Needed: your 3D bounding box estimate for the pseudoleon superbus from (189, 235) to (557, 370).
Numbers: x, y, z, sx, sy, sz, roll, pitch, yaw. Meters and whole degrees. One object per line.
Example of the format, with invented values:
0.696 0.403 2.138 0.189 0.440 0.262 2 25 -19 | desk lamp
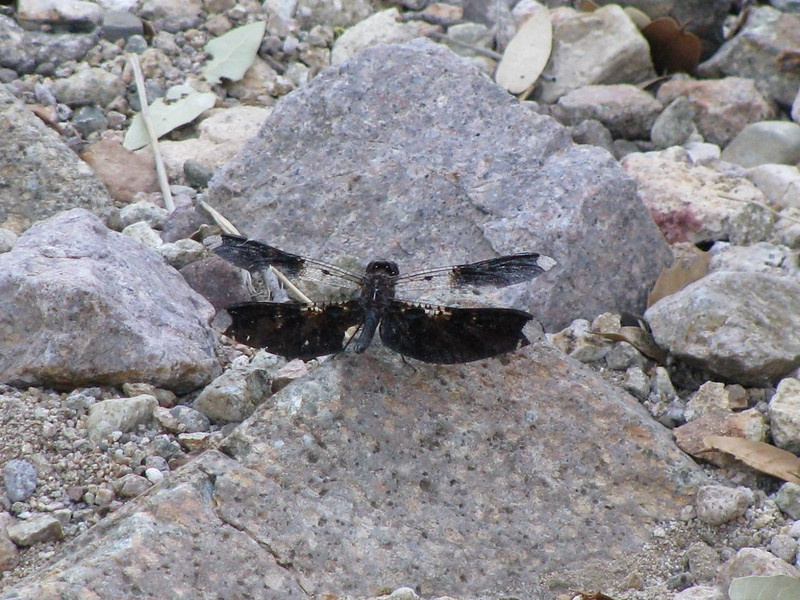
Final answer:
-0.165 0.007 6.576 1.926 0.737 0.689 2 78 -6 | pseudoleon superbus
